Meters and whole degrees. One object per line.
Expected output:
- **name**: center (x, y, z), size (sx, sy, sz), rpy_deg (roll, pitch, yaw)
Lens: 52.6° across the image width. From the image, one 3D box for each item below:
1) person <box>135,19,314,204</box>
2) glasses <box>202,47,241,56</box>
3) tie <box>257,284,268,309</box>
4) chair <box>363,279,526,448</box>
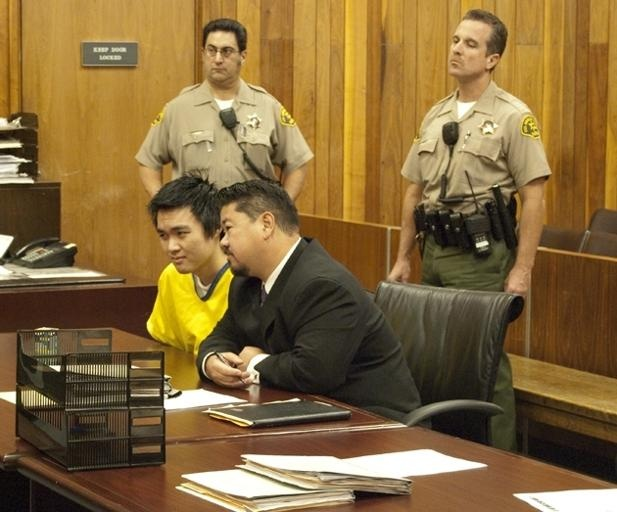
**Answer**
- **person**: center (-0.522, -0.909, 3.921), size (1.081, 1.079, 0.422), rpy_deg (1, 3, -16)
- **glasses**: center (-0.516, -1.218, 3.739), size (0.211, 0.058, 0.084), rpy_deg (1, 3, -8)
- **tie**: center (-0.150, 0.132, 2.071), size (0.019, 0.067, 0.044), rpy_deg (3, -2, 0)
- **chair**: center (0.491, 0.321, 2.485), size (0.508, 0.901, 0.532), rpy_deg (1, -2, -42)
